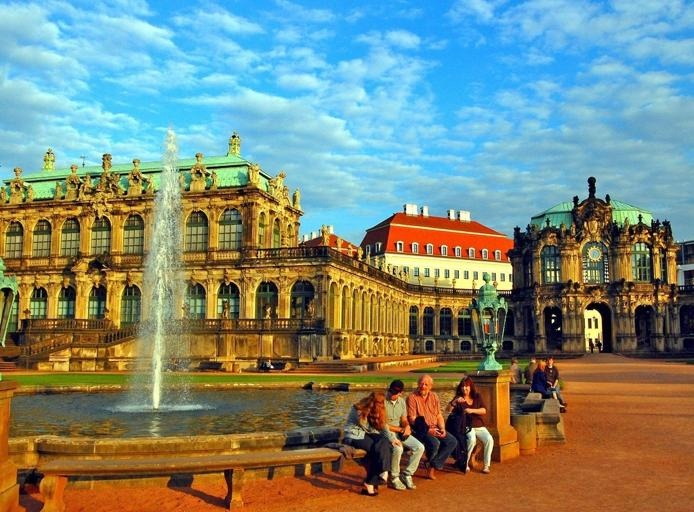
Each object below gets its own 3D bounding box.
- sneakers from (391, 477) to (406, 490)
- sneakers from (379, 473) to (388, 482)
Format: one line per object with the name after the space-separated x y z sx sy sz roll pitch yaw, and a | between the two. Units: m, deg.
1.079 4.713 15.136 0.285 0.241 0.201 4 -10 -17 | sneakers
0.772 4.540 14.967 0.103 0.234 0.304 -2 -10 17 | sneakers
